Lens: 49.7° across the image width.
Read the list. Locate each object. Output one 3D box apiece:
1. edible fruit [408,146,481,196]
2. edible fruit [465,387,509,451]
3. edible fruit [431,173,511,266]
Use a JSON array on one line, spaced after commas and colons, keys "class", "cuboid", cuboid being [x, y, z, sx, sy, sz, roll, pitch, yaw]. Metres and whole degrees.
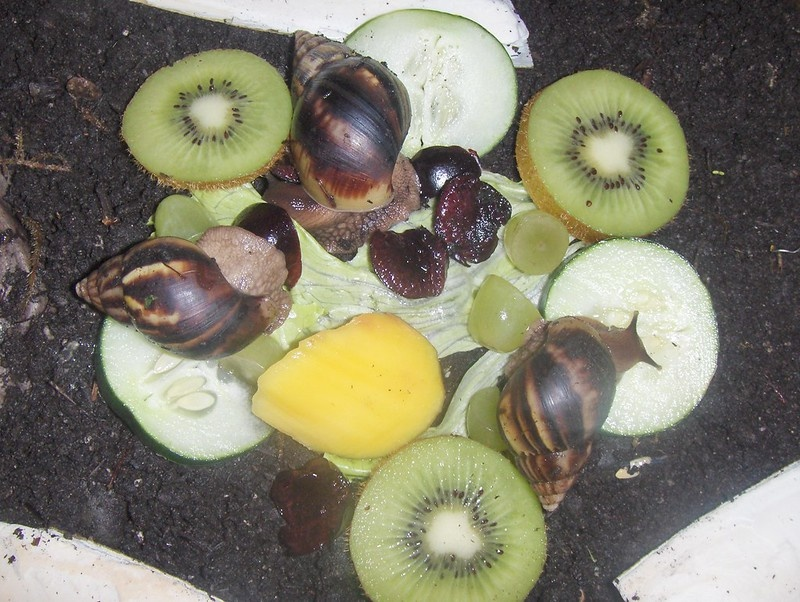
[{"class": "edible fruit", "cuboid": [0.164, -0.521, 3.206, 0.217, 0.145, 0.162, -17, 26, -27]}, {"class": "edible fruit", "cuboid": [0.307, 0.433, 3.199, 0.057, 0.160, 0.219, 0, 65, -44]}, {"class": "edible fruit", "cuboid": [0.317, -0.292, 3.220, 0.110, 0.405, 0.354, -51, 34, -18]}]
